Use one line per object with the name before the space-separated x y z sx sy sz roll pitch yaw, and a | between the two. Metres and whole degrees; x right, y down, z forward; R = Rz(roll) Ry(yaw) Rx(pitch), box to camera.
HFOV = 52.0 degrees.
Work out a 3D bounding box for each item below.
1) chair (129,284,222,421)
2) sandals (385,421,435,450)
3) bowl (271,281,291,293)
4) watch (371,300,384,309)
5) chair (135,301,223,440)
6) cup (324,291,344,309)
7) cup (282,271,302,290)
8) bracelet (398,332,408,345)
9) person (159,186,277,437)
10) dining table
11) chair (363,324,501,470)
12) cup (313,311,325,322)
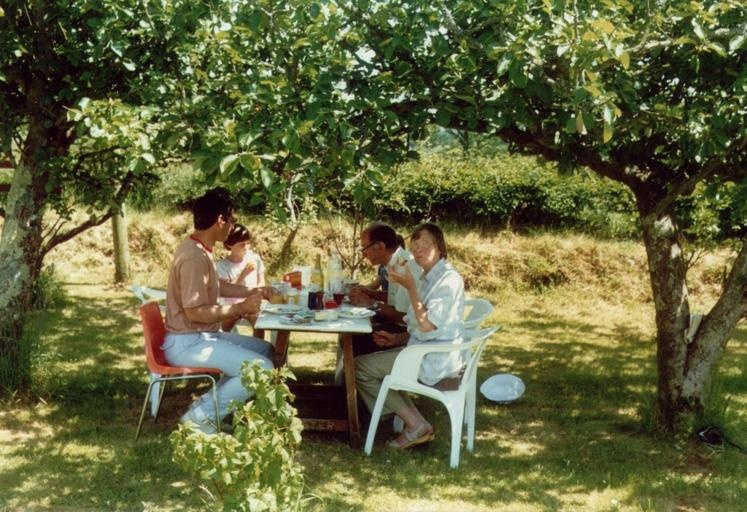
chair | -1.684 0.913 6.869 0.826 1.041 0.749 3 16 0
sandals | 0.349 1.610 6.855 0.434 0.172 0.195 -17 -6 23
bowl | -0.886 0.303 7.350 0.129 0.088 0.132 1 -3 0
watch | 0.041 0.470 7.342 0.062 0.084 0.094 21 34 40
chair | -1.668 0.943 6.837 0.835 1.098 0.768 -2 20 -15
cup | -0.367 0.416 7.197 0.161 0.130 0.143 2 -1 -20
cup | -0.789 0.242 7.580 0.176 0.206 0.182 2 -2 0
bracelet | 0.278 0.763 7.091 0.071 0.116 0.048 2 -14 7
person | -1.374 0.527 7.017 1.256 2.155 1.096 0 6 -27
dining table | -0.445 0.980 7.098 1.338 1.174 1.191 0 9 -3
chair | 0.502 1.227 7.365 1.259 1.517 1.221 5 2 23
cup | -0.459 0.521 6.691 0.107 0.068 0.106 3 12 -1
